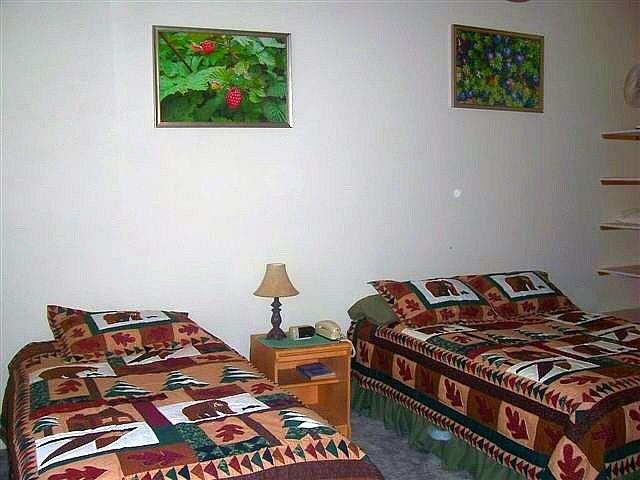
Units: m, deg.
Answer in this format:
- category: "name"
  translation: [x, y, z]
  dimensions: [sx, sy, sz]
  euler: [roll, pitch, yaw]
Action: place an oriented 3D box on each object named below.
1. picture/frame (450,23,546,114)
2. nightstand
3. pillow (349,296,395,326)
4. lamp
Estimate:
- category: "picture/frame"
  translation: [1.649, -1.554, 4.274]
  dimensions: [1.019, 0.702, 0.039]
  euler: [-8, 10, -31]
- category: "nightstand"
  translation: [-0.101, 0.995, 3.425]
  dimensions: [0.648, 0.857, 0.672]
  euler: [-1, 2, -20]
- category: "pillow"
  translation: [0.409, 0.557, 3.619]
  dimensions: [0.252, 0.075, 0.223]
  euler: [-14, 46, -5]
- category: "lamp"
  translation: [-0.331, 0.445, 3.491]
  dimensions: [0.305, 0.556, 0.423]
  euler: [-1, 5, -8]
